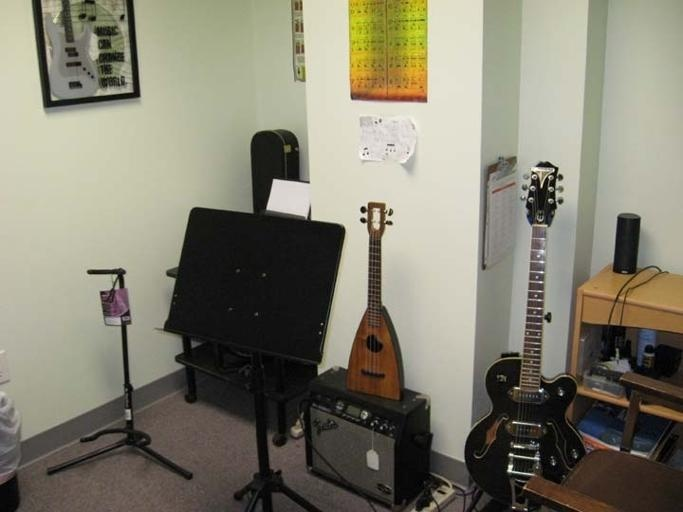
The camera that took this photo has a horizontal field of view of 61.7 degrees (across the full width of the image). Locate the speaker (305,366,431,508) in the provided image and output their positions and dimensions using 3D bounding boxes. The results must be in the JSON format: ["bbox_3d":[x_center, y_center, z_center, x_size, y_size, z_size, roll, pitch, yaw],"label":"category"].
[{"bbox_3d":[0.132,0.952,3.010,0.661,0.550,0.355,9,14,34],"label":"speaker"}]

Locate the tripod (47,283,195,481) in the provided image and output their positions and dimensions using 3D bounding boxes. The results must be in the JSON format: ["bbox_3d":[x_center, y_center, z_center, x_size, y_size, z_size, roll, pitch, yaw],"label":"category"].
[{"bbox_3d":[-1.191,0.663,3.248,0.788,1.020,0.516,2,12,3],"label":"tripod"}]

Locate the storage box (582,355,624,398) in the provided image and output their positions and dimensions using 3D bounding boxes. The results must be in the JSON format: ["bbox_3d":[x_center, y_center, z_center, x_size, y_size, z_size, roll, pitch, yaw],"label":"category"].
[{"bbox_3d":[1.305,0.581,2.834,0.144,0.104,0.147,15,29,31],"label":"storage box"}]

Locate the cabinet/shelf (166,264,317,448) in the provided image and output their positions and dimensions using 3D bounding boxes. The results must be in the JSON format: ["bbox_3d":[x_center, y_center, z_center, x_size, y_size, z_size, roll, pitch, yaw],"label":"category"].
[{"bbox_3d":[-0.494,0.538,2.924,0.775,0.811,0.433,10,17,28],"label":"cabinet/shelf"}]
